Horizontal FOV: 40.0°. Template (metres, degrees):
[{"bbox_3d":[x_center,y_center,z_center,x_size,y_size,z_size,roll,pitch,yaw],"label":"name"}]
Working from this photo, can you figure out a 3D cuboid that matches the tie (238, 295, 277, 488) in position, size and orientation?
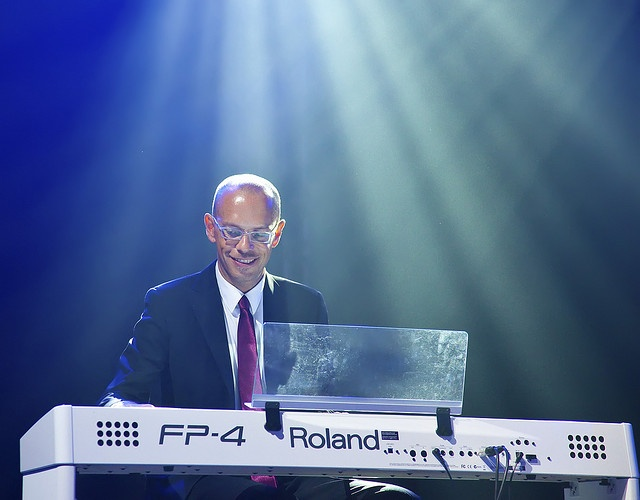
[{"bbox_3d":[-0.250,0.583,3.442,0.086,0.968,0.132,-2,-36,-8],"label":"tie"}]
